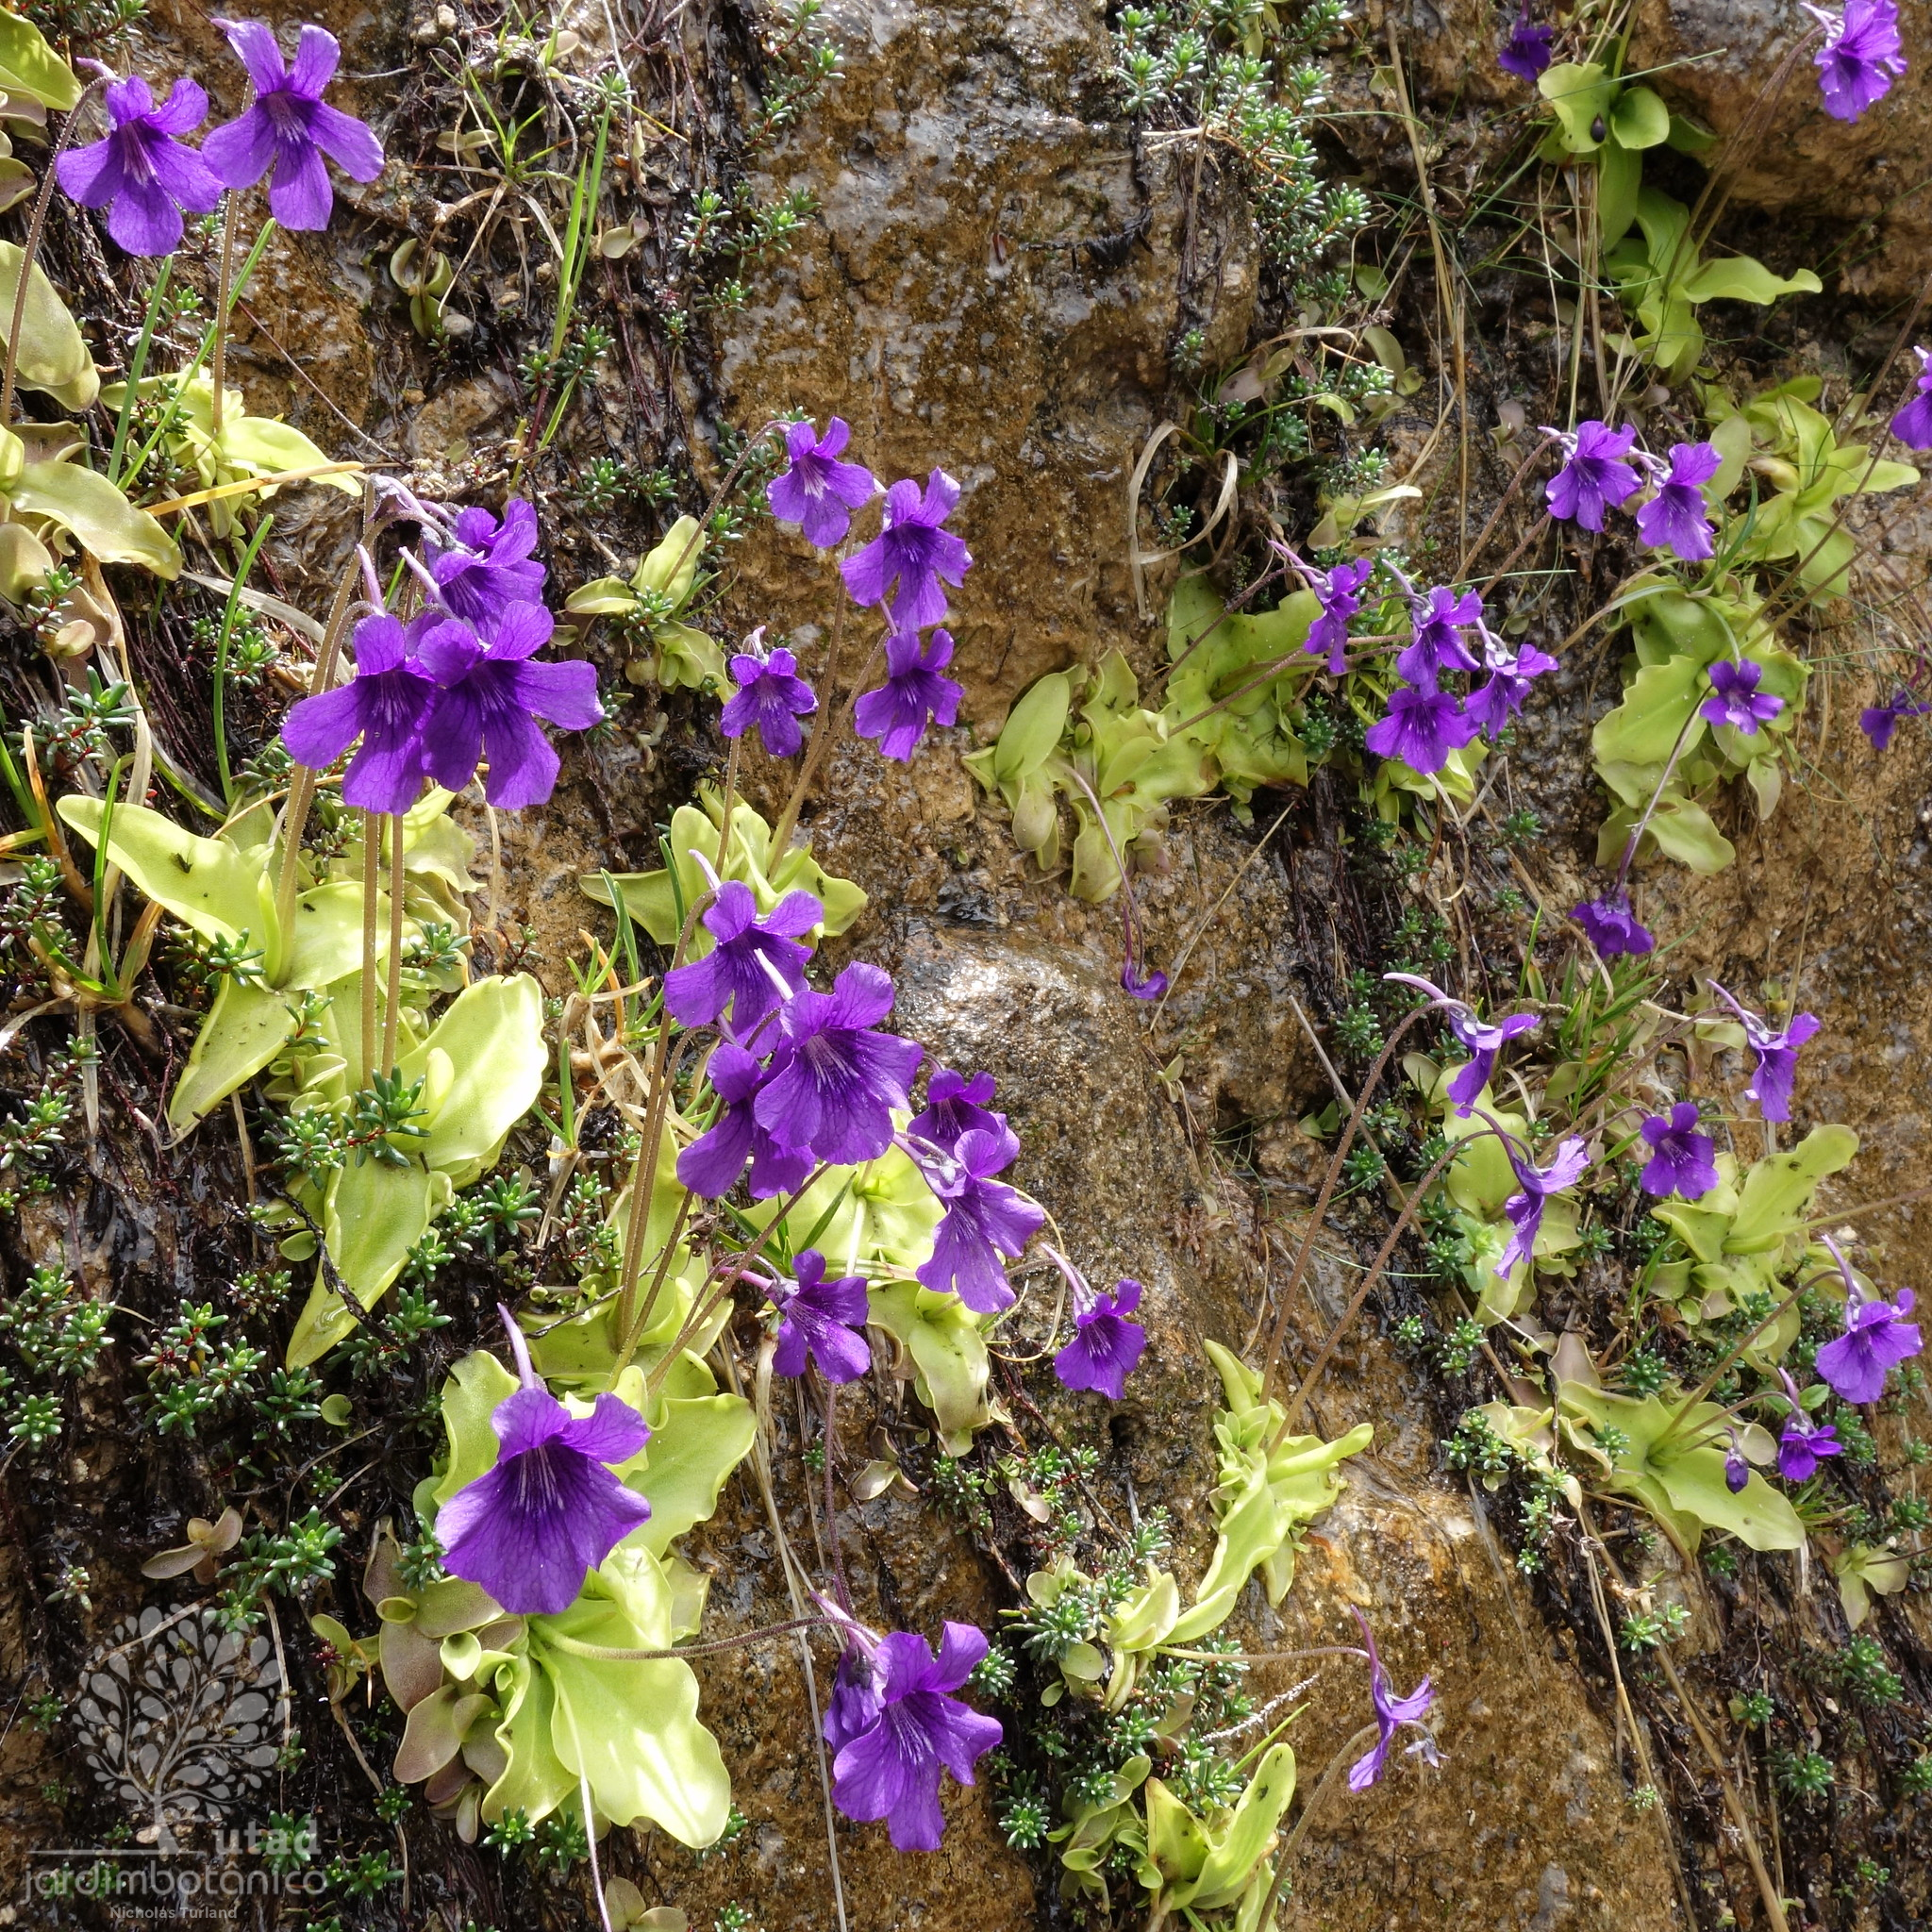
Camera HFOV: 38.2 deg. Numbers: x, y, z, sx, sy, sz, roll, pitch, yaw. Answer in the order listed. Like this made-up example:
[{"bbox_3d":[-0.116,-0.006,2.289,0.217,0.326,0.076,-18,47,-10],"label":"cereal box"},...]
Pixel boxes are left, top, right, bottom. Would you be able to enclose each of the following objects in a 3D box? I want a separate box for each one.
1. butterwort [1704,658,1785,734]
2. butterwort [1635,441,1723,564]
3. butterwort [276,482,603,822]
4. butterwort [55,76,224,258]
[{"bbox_3d":[1.782,-0.621,6.382,0.174,0.055,0.176,-45,113,-8],"label":"butterwort"},{"bbox_3d":[1.525,-0.958,5.983,0.207,0.273,0.085,-36,46,-26],"label":"butterwort"},{"bbox_3d":[-0.779,-0.433,4.123,0.384,0.354,0.467,-37,39,-8],"label":"butterwort"},{"bbox_3d":[-1.285,-1.288,4.324,0.215,0.231,0.117,-8,85,-3],"label":"butterwort"}]
